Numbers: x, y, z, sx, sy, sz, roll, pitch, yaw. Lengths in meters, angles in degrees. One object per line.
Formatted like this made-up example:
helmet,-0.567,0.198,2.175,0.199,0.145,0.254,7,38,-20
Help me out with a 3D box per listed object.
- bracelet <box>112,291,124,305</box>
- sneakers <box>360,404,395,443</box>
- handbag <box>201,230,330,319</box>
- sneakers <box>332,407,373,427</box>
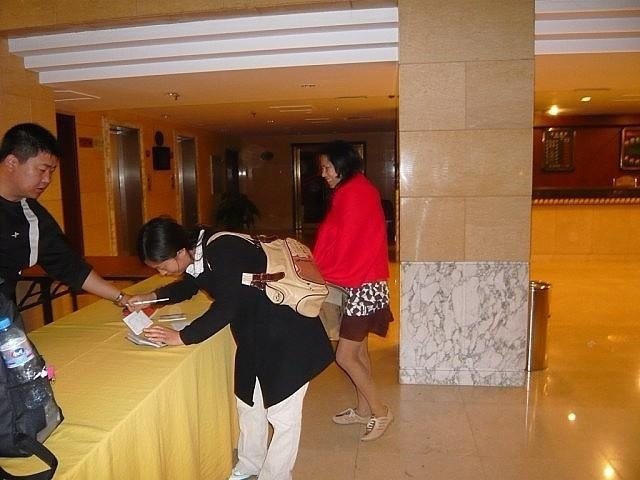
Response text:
bracelet,-1.296,0.385,3.444,0.053,0.080,0.081,35,-33,-15
sneakers,0.394,1.324,3.740,0.132,0.134,0.352,12,11,28
handbag,-0.295,0.241,2.924,0.634,0.404,0.225,18,-46,-23
sneakers,0.231,1.306,3.876,0.301,0.109,0.102,2,2,-1
